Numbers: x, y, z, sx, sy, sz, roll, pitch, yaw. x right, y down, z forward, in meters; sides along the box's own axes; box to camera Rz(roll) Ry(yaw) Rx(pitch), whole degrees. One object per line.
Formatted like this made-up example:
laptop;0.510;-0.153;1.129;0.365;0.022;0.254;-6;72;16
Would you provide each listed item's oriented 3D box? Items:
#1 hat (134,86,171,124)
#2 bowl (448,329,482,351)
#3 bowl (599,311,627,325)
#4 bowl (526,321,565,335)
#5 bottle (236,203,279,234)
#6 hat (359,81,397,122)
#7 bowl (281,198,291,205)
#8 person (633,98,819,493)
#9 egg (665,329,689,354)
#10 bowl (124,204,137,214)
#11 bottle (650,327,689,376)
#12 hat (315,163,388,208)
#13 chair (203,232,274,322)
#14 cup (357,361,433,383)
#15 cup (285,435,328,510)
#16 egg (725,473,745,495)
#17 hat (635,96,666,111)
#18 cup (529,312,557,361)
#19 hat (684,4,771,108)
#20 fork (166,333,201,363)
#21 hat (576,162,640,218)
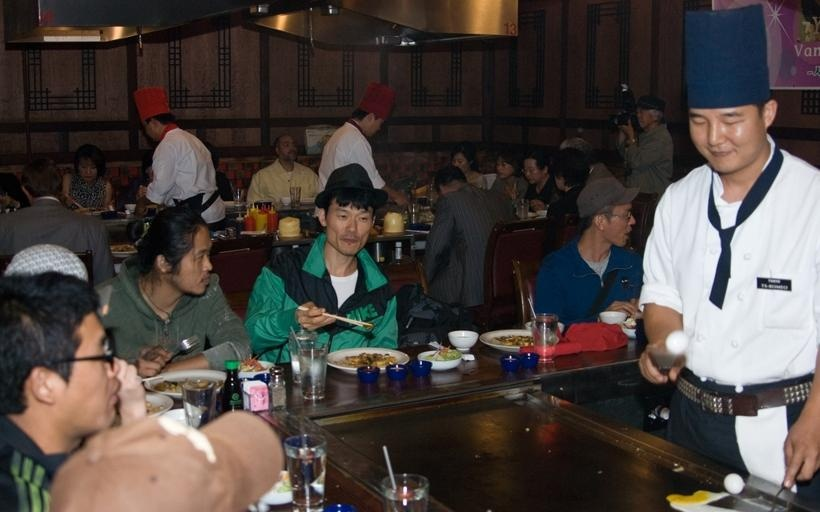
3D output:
hat;-2.379;-1.381;5.964;0.367;0.269;0.305;-11;9;-4
bowl;0.225;0.363;2.807;0.098;0.072;0.112;-11;10;-35
bowl;0.952;0.285;3.060;0.073;0.037;0.072;3;3;0
bowl;0.629;0.330;3.043;0.116;0.041;0.116;0;1;0
bottle;-1.369;-0.350;5.869;0.332;0.344;0.273;-1;7;-3
hat;-0.307;-1.493;6.204;0.380;0.305;0.272;17;24;-9
bowl;-1.267;-0.551;6.626;0.083;0.055;0.083;0;-4;0
person;1.016;0.109;2.044;0.465;1.161;0.663;-8;9;-17
egg;0.812;0.266;1.984;0.060;0.074;0.072;-3;9;18
bowl;-2.595;-0.431;5.991;0.124;0.105;0.122;1;1;0
bottle;0.833;0.311;2.083;0.069;0.066;0.154;3;-28;0
hat;-0.231;-0.315;2.971;0.252;0.093;0.220;5;-9;-36
chair;-1.014;0.108;3.927;0.420;0.539;0.447;-4;14;-22
cup;-0.059;0.435;2.490;0.293;0.079;0.096;-7;8;-16
cup;-0.283;0.567;1.770;0.107;0.189;0.149;-7;8;-12
egg;0.872;0.612;1.751;0.049;0.045;0.039;-11;10;-35
hat;2.381;-1.493;6.404;0.219;0.079;0.167;3;3;11
cup;0.560;0.332;2.693;0.107;0.186;0.093;-5;8;4
hat;0.988;-0.621;2.042;0.223;0.321;0.248;-1;9;25
fork;-0.985;0.392;2.808;0.190;0.029;0.052;-39;9;34
hat;1.021;-0.348;3.428;0.290;0.158;0.205;-25;10;7
